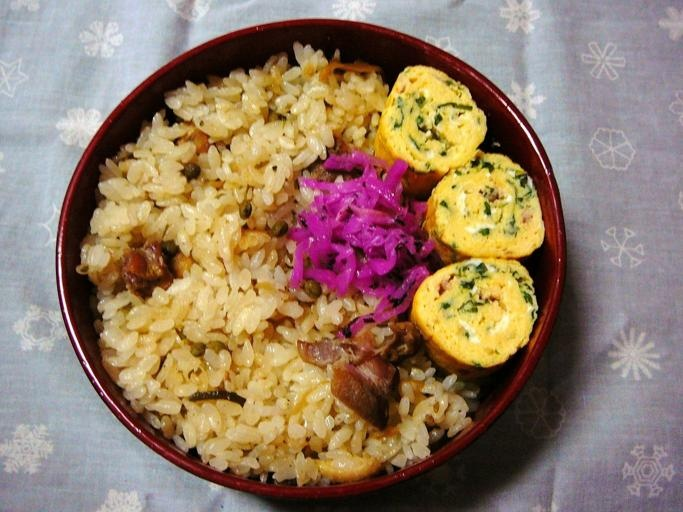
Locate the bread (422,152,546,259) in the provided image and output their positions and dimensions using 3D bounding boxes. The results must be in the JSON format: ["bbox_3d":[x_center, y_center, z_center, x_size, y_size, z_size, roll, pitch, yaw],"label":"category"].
[{"bbox_3d":[0.690,-0.242,3.726,0.488,0.106,0.512,-1,86,0],"label":"bread"}]
